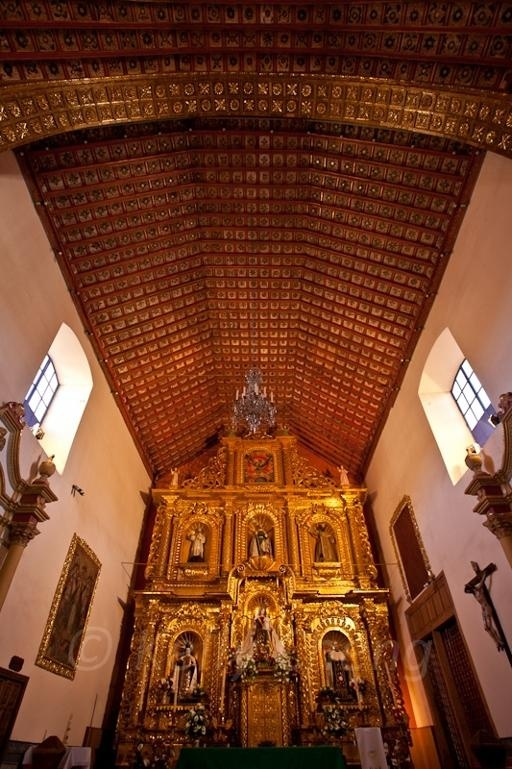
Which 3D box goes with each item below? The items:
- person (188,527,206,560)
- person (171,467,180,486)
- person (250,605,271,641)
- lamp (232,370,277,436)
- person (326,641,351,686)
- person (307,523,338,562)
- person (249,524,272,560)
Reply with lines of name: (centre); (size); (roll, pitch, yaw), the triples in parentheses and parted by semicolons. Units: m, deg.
person: (-1.621, 4.442, 11.694); (0.462, 1.082, 0.417); (6, -39, -6)
person: (-2.432, 2.905, 12.899); (0.228, 0.744, 0.417); (6, -40, -7)
person: (0.116, 5.568, 9.787); (0.400, 0.729, 0.755); (0, -40, 1)
lamp: (-0.060, 0.560, 10.742); (1.010, 1.686, 1.031); (6, -28, -11)
person: (1.797, 6.353, 9.406); (0.516, 0.747, 0.342); (-5, -39, 6)
person: (1.805, 4.361, 11.658); (0.732, 1.128, 0.327); (-6, -39, 8)
person: (0.106, 4.345, 11.528); (0.670, 1.064, 0.694); (0, -39, 1)
